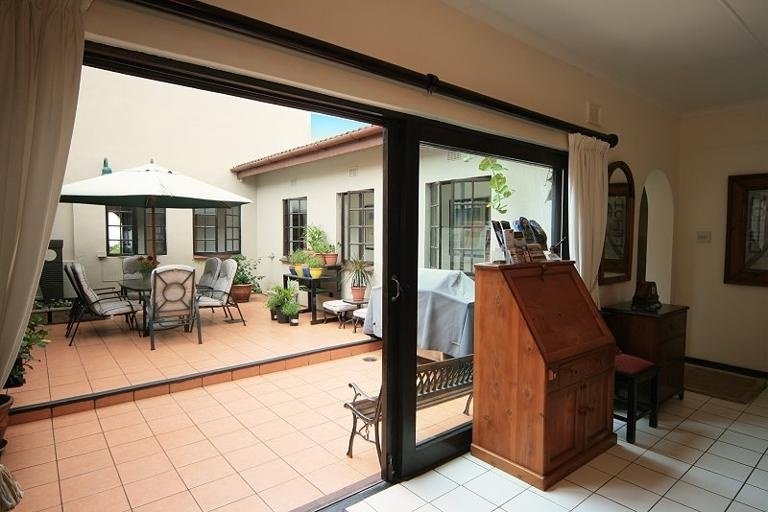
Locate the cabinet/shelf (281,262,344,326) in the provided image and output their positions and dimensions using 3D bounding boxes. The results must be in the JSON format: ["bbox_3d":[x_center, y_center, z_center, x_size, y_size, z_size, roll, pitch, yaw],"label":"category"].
[{"bbox_3d":[-0.965,0.679,8.248,0.592,0.929,1.229,0,-5,-4],"label":"cabinet/shelf"}]

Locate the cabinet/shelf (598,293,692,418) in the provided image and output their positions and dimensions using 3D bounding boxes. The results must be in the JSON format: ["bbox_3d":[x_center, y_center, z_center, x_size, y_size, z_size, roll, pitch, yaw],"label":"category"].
[{"bbox_3d":[2.649,0.985,5.003,0.631,0.918,0.747,-3,6,-31],"label":"cabinet/shelf"}]

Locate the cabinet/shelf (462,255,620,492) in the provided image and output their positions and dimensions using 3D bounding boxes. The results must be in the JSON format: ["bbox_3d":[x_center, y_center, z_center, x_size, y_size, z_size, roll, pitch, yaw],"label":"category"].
[{"bbox_3d":[1.253,0.876,3.823,1.057,1.586,0.802,-3,14,-13],"label":"cabinet/shelf"}]

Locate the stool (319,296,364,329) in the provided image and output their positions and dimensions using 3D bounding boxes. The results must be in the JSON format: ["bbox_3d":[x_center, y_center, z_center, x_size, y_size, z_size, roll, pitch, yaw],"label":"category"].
[{"bbox_3d":[-0.604,0.855,7.364,0.513,0.276,0.502,-4,9,-25],"label":"stool"}]

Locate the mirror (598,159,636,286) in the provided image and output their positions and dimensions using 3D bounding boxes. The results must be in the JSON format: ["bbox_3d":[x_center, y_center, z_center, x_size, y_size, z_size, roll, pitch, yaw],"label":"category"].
[{"bbox_3d":[2.459,-0.367,5.080,0.244,1.235,0.575,13,19,41],"label":"mirror"}]

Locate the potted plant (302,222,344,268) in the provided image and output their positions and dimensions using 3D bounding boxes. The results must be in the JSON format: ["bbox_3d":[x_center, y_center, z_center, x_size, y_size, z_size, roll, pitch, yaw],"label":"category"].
[{"bbox_3d":[-1.089,-0.162,8.002,0.754,0.945,0.462,2,0,19],"label":"potted plant"}]

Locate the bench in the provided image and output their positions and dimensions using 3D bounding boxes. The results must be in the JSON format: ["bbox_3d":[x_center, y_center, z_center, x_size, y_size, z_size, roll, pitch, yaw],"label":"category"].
[{"bbox_3d":[0.466,1.289,4.392,1.693,0.911,0.592,-1,7,-43],"label":"bench"}]

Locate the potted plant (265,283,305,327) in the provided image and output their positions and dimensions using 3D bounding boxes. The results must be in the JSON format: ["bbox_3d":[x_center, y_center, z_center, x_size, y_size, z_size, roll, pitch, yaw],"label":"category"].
[{"bbox_3d":[-1.541,0.729,7.800,0.590,0.721,0.708,-2,4,-28],"label":"potted plant"}]

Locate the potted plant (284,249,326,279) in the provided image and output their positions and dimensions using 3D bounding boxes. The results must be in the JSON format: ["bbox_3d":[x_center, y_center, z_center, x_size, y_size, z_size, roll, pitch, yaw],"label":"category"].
[{"bbox_3d":[-1.263,0.114,7.887,0.464,0.402,0.600,5,0,-2],"label":"potted plant"}]

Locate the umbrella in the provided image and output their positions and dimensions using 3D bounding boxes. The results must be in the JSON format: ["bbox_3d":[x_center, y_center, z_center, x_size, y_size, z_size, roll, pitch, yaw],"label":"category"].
[{"bbox_3d":[-3.193,-0.378,6.732,2.333,1.530,2.189,-3,2,-34],"label":"umbrella"}]

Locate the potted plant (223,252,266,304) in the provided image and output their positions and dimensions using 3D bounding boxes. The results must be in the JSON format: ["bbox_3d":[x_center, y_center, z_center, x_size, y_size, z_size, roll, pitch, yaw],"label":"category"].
[{"bbox_3d":[-2.721,0.459,9.883,0.615,0.819,0.744,-4,5,39],"label":"potted plant"}]

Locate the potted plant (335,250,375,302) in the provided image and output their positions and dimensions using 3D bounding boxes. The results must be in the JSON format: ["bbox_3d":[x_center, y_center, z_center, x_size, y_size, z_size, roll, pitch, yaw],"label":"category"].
[{"bbox_3d":[-0.386,0.382,7.375,0.518,0.651,0.465,6,9,24],"label":"potted plant"}]

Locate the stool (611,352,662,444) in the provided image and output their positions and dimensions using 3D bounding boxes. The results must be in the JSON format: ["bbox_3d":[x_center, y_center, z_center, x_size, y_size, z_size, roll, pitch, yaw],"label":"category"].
[{"bbox_3d":[2.176,1.248,4.418,0.436,0.668,0.499,-8,10,-30],"label":"stool"}]
